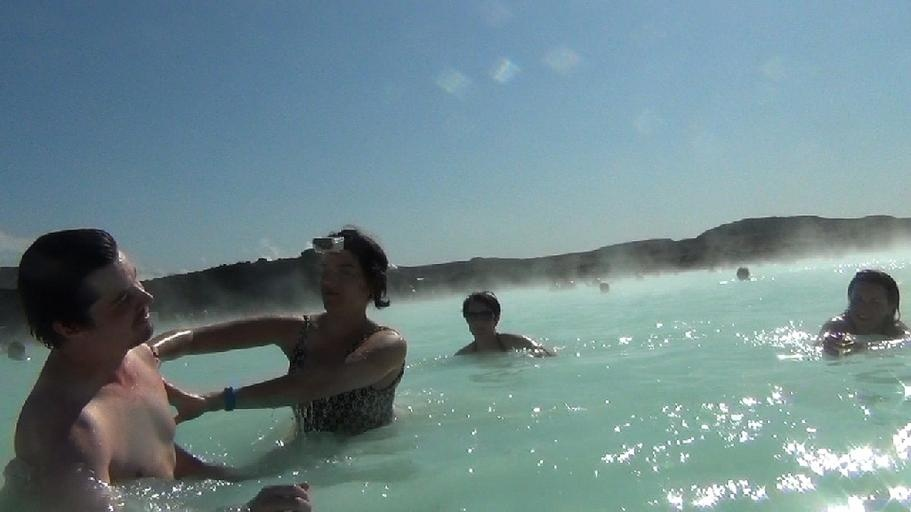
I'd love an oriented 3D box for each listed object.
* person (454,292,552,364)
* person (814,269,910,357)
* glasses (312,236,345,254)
[{"bbox_3d":[0.620,1.245,8.831,2.224,1.156,0.826,-6,-18,21],"label":"person"},{"bbox_3d":[5.636,0.869,7.942,1.298,1.134,1.378,11,-12,-43],"label":"person"},{"bbox_3d":[-1.205,-0.105,5.273,0.283,0.171,0.239,-3,5,-11],"label":"glasses"}]
